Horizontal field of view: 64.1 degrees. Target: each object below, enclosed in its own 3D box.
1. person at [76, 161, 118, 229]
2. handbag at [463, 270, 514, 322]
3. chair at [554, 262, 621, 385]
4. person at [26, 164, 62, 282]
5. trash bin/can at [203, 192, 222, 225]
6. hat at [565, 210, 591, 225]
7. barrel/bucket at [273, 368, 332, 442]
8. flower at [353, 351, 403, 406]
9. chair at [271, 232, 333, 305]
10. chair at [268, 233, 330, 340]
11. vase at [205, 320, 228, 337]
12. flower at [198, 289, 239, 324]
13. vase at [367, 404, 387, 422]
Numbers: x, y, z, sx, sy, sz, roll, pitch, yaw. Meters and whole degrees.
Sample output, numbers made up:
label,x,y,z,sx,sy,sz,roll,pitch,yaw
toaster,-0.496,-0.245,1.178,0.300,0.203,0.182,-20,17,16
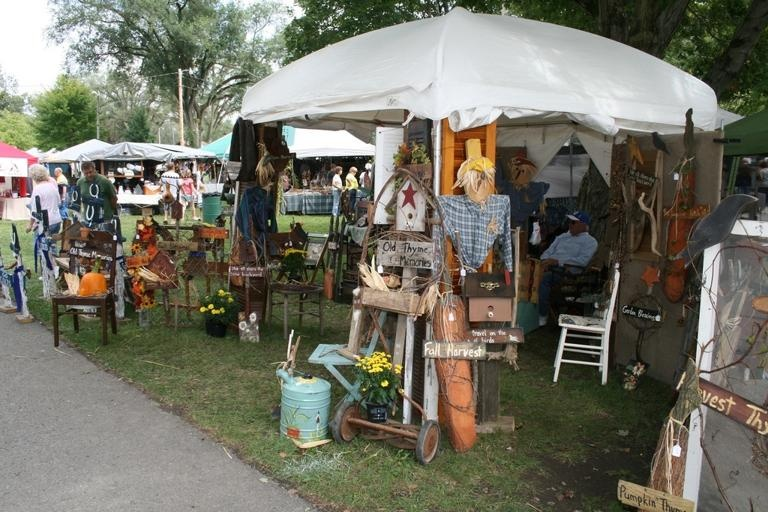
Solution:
label,x,y,z,sx,sy,sz,roll,pitch,yaw
person,-4.604,-0.981,9.760,0.677,1.042,0.370,1,5,12
handbag,1.143,0.445,6.900,0.564,0.587,0.506,0,-2,-3
chair,2.851,0.847,8.611,0.838,1.563,1.532,2,5,17
person,-5.759,-0.822,10.469,0.472,1.500,0.882,-2,5,-31
trash bin/can,-5.460,-1.552,19.657,0.532,0.928,1.051,-2,5,-29
hat,3.103,-0.617,9.745,0.292,0.160,0.211,11,3,-5
barrel/bucket,-0.867,1.603,6.743,0.577,0.870,0.505,2,24,-8
flower,-0.054,1.321,6.639,0.482,0.583,0.392,0,5,1
chair,-1.441,0.313,11.112,0.842,1.158,0.902,-5,13,30
chair,-1.364,0.397,9.496,0.877,1.492,0.995,-1,7,-41
vase,-2.515,1.072,9.215,0.280,0.219,0.290,2,0,4
flower,-2.476,0.707,9.265,0.496,0.338,0.481,4,28,-7
vase,-0.063,1.671,6.507,0.187,0.146,0.191,1,5,-7
